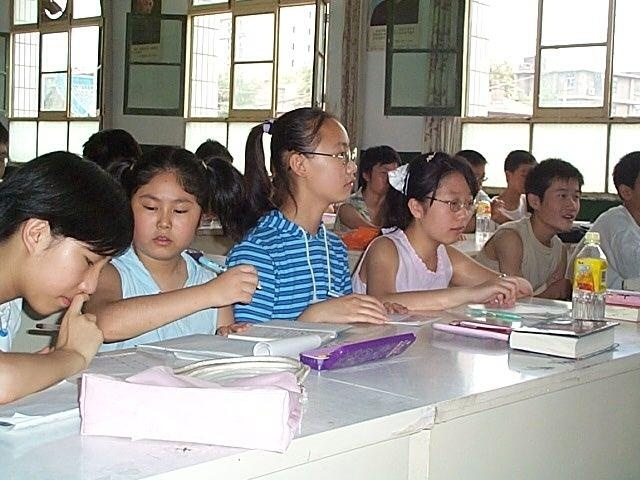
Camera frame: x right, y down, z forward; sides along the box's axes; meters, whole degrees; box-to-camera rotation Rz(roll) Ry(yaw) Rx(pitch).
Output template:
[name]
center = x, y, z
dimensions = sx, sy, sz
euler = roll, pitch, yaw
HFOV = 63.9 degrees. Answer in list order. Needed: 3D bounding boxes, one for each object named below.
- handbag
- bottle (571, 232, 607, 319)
[handbag]
center = -0.166, 0.215, 0.763
dimensions = 0.291, 0.087, 0.231
euler = 4, 6, 5
[bottle]
center = 0.749, 0.103, 1.419
dimensions = 0.092, 0.230, 0.098
euler = 1, 2, 0
